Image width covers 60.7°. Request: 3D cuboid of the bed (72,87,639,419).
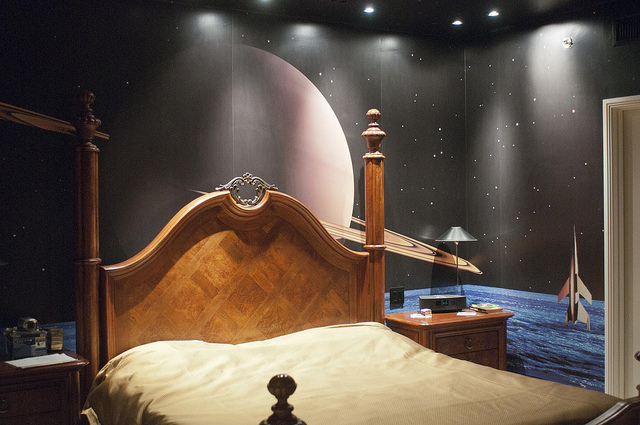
[{"bbox_3d":[0.253,0.306,4.113,2.150,1.762,2.120,-2,6,-43],"label":"bed"}]
